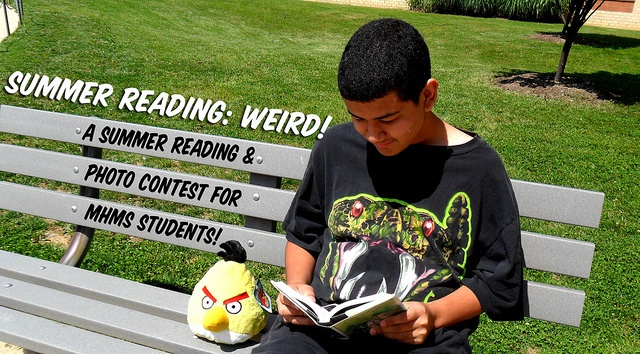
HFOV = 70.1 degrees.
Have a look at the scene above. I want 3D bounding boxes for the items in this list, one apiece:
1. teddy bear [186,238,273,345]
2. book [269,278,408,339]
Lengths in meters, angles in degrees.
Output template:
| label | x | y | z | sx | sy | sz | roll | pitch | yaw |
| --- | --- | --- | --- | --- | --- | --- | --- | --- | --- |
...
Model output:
| label | x | y | z | sx | sy | sz | roll | pitch | yaw |
| --- | --- | --- | --- | --- | --- | --- | --- | --- | --- |
| teddy bear | -0.718 | 0.859 | 3.861 | 0.727 | 0.739 | 0.787 | 4 | 5 | 15 |
| book | 0.151 | 0.910 | 3.080 | 0.878 | 0.366 | 0.257 | 5 | 61 | 43 |
